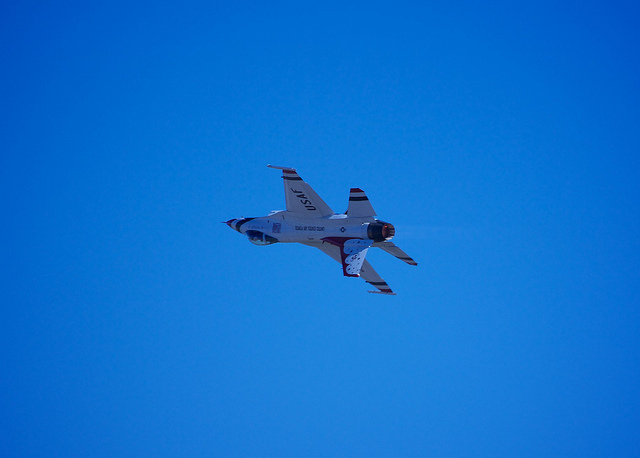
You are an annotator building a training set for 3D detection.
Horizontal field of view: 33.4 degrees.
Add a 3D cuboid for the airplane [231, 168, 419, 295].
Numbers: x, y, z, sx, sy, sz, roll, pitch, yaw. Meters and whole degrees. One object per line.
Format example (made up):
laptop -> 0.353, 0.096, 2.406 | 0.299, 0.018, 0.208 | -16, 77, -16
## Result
airplane -> -0.720, 0.051, 50.778 | 2.647, 9.591, 7.983 | -54, -46, -34
